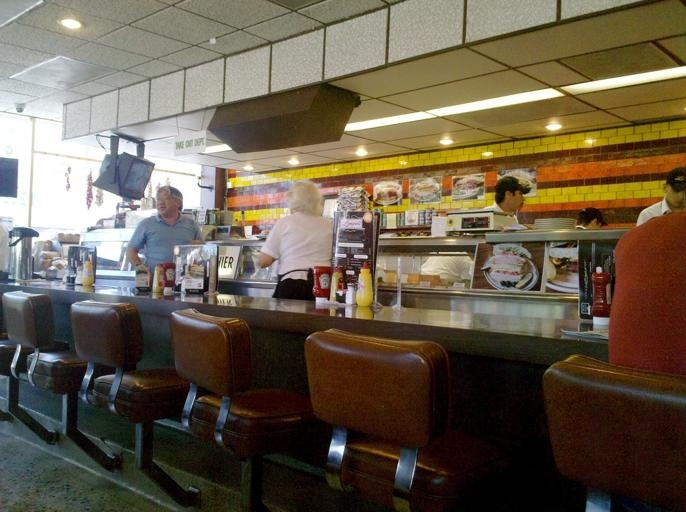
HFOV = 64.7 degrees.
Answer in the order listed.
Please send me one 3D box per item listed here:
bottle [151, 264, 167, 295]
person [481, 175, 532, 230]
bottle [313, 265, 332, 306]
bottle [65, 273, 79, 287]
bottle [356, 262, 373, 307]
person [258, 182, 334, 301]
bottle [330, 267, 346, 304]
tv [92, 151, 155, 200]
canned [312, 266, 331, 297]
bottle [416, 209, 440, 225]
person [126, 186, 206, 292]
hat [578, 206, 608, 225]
[{"bbox_3d":[-1.326,0.161,3.890,0.087,0.199,0.446,0,2,-19],"label":"bottle"},{"bbox_3d":[1.675,-0.522,5.590,0.425,0.654,0.775,10,15,27],"label":"person"},{"bbox_3d":[-0.123,0.170,3.268,0.110,0.205,0.209,1,2,-3],"label":"bottle"},{"bbox_3d":[-2.447,0.219,4.882,0.058,0.084,0.090,8,9,35],"label":"bottle"},{"bbox_3d":[0.122,0.156,3.047,0.106,0.244,0.243,1,2,3],"label":"bottle"},{"bbox_3d":[-0.336,-0.115,3.858,0.526,0.860,0.367,1,2,-5],"label":"person"},{"bbox_3d":[-0.027,0.168,3.184,0.086,0.197,0.197,1,2,-1],"label":"bottle"},{"bbox_3d":[-3.031,-1.127,7.505,0.733,0.499,0.702,19,7,-22],"label":"tv"},{"bbox_3d":[-0.106,0.174,3.341,0.157,0.214,0.145,0,-4,6],"label":"canned"},{"bbox_3d":[1.239,-0.562,7.806,0.168,0.251,0.368,0,2,-36],"label":"bottle"},{"bbox_3d":[-1.690,-0.268,5.164,0.696,0.807,0.472,0,2,-25],"label":"person"},{"bbox_3d":[2.847,-0.458,6.170,0.314,0.149,0.212,-5,8,-33],"label":"hat"}]
